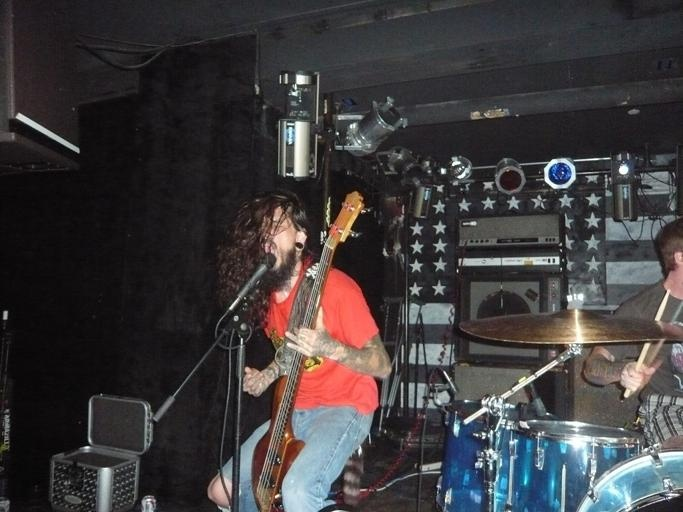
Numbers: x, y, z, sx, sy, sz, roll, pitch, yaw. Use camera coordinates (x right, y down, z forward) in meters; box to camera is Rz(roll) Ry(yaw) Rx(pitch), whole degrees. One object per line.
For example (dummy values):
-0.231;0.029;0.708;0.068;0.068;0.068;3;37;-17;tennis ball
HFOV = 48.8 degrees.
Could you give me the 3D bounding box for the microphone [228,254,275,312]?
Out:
-0.547;0.164;4.756;0.086;0.424;0.074;41;-11;-19;microphone
